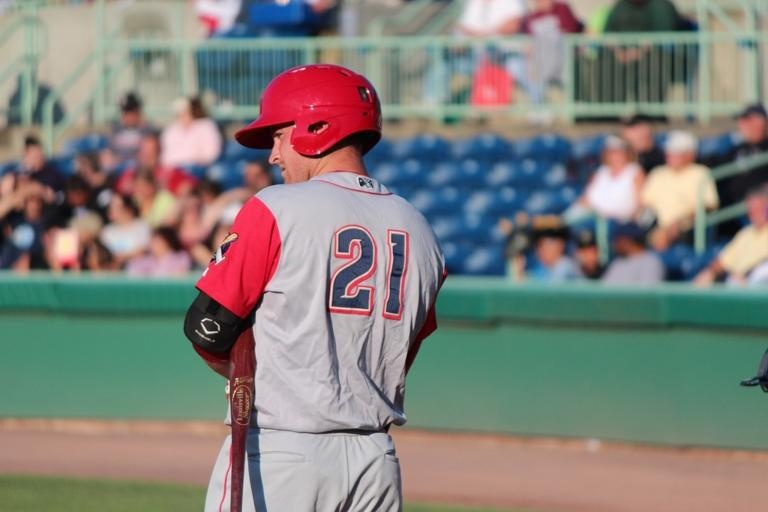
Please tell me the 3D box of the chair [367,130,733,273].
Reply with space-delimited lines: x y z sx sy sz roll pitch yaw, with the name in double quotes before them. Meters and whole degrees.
"chair" 1.583 -0.515 18.579 3.585 1.369 0.812 4 2 37
